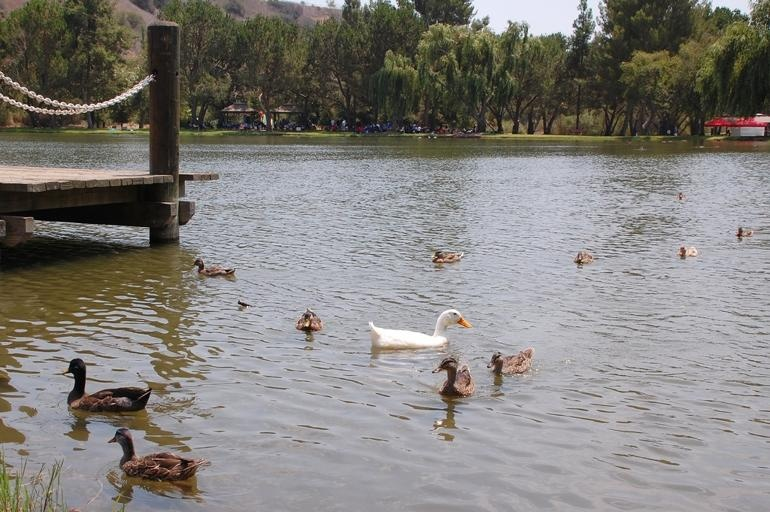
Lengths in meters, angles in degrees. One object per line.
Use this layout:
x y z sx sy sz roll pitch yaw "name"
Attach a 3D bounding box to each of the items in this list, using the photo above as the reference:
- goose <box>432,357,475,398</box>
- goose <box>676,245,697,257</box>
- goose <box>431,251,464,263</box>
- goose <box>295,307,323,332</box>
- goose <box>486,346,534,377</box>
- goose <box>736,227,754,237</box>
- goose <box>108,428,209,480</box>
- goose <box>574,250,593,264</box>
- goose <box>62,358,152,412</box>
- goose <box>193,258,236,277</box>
1.432 2.337 18.142 0.759 0.755 0.635 1 13 -3 "goose"
9.278 -0.095 28.174 0.351 0.376 0.576 0 15 16 "goose"
1.820 0.063 26.816 0.785 0.295 0.358 -3 35 -10 "goose"
-1.690 1.452 20.654 0.597 0.446 0.564 0 13 -4 "goose"
2.627 2.188 18.857 0.946 0.369 0.431 -10 20 -41 "goose"
12.253 -0.696 31.198 0.462 0.301 1.052 14 6 31 "goose"
-3.899 3.487 15.914 1.654 0.877 0.607 1 15 2 "goose"
5.854 0.049 27.046 0.526 0.296 0.701 4 13 12 "goose"
-5.228 2.533 17.250 2.084 1.193 0.729 1 -14 2 "goose"
-4.633 0.364 25.019 1.129 0.584 0.471 3 -7 14 "goose"
